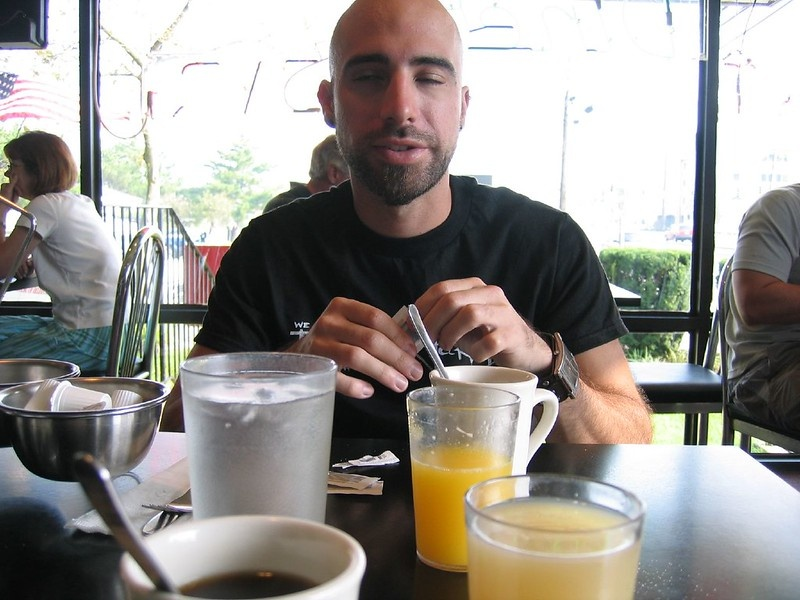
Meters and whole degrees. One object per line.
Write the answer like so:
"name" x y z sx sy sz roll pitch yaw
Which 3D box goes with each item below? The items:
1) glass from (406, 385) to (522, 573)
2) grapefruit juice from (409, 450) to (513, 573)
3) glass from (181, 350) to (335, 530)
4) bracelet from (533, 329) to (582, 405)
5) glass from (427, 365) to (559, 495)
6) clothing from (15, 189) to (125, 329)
"glass" 0.098 0.250 1.030 0.209 0.310 0.217 1 -1 22
"grapefruit juice" 0.088 0.286 0.923 0.135 0.151 0.154 -1 1 3
"glass" -0.167 0.178 0.974 0.212 0.331 0.227 1 -2 -3
"bracelet" 0.326 0.143 1.413 0.096 0.157 0.152 9 13 11
"glass" 0.153 0.210 1.003 0.213 0.182 0.136 10 -5 -26
"clothing" -1.592 -0.206 3.162 0.282 0.524 0.553 -12 -27 1
